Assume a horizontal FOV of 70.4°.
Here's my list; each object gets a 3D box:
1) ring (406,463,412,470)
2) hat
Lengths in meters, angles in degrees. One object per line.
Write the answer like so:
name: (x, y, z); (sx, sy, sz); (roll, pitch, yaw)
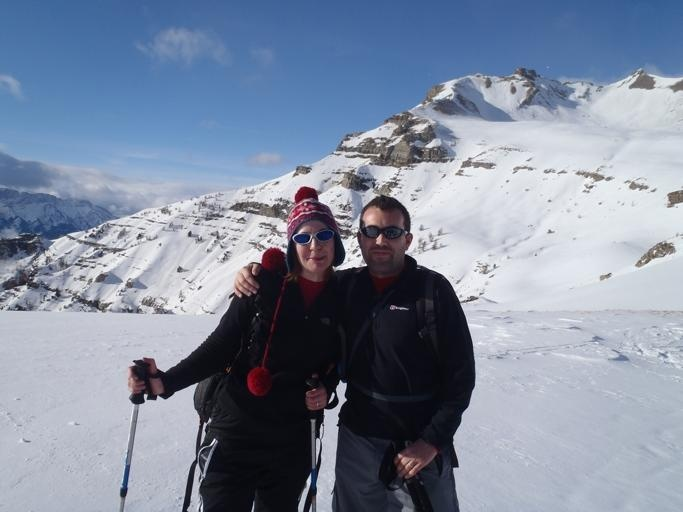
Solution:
ring: (0.975, 2.925, 6.712); (0.075, 0.068, 0.019); (6, 14, 12)
hat: (-0.408, -0.434, 7.632); (1.009, 1.360, 0.927); (-2, -9, -15)
